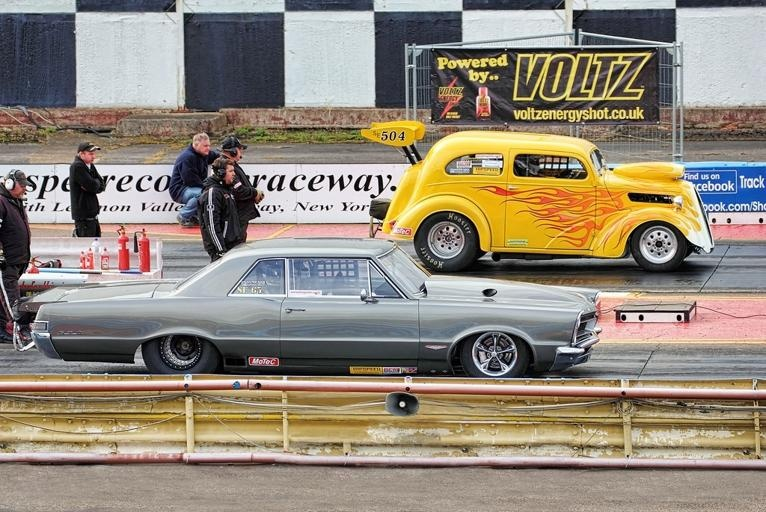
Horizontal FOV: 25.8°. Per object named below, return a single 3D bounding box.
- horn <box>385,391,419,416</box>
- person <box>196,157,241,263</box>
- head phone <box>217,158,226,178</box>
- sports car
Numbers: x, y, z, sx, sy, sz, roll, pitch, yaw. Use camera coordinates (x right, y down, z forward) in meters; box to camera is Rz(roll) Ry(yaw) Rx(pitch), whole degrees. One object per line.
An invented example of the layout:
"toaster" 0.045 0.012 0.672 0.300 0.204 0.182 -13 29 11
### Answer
"horn" 0.390 2.401 27.771 0.488 0.406 0.466 -18 8 9
"person" -3.119 -0.863 31.873 1.494 1.918 0.759 2 -5 10
"head phone" -3.068 -1.662 31.959 0.172 0.256 0.348 0 -11 -1
"sports car" -1.088 0.963 29.502 9.342 2.250 1.050 0 11 1
